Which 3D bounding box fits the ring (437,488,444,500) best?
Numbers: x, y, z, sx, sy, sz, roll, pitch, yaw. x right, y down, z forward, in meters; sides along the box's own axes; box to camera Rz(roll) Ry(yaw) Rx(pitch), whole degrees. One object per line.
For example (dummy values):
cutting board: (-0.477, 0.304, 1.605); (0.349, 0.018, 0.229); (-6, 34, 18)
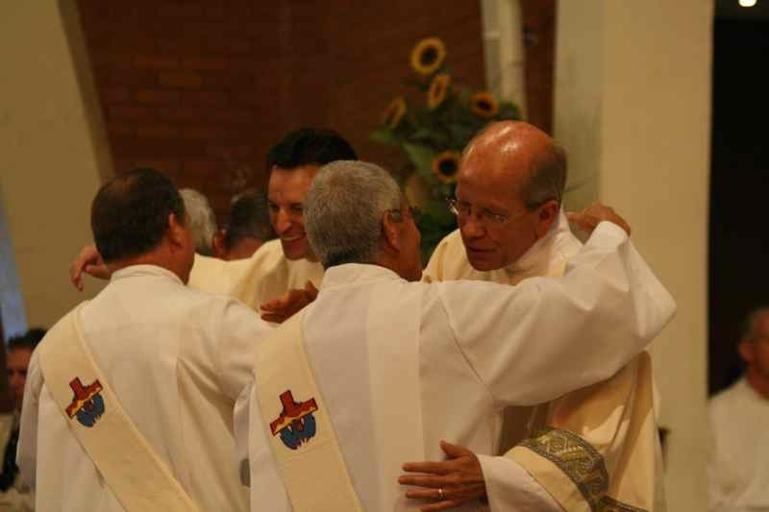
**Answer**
ring: (0.222, 0.932, 3.429); (0.017, 0.038, 0.026); (0, -8, -23)
